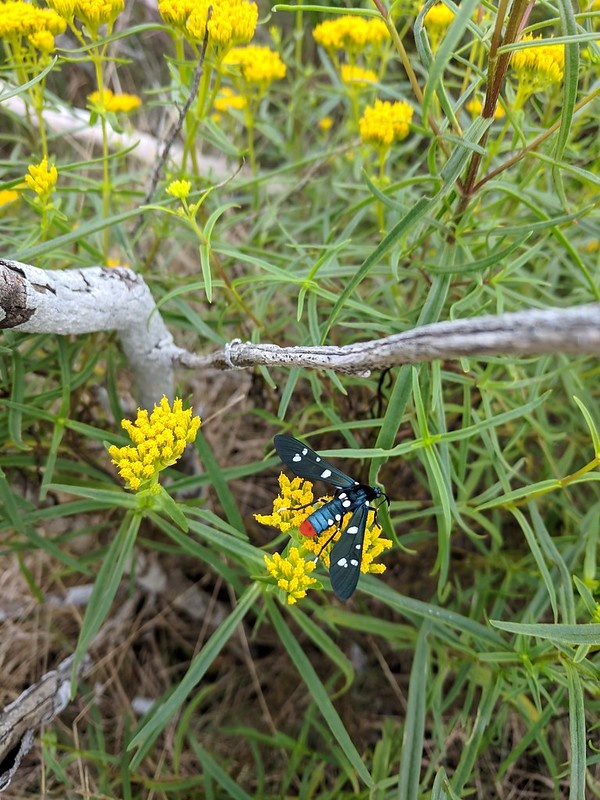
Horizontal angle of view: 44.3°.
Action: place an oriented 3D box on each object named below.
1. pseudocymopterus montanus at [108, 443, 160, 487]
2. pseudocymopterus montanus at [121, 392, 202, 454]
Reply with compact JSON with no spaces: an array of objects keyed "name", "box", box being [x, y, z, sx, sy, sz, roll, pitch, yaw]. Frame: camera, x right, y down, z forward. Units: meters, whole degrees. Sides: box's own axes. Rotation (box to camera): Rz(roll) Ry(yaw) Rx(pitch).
[{"name":"pseudocymopterus montanus","box":[-0.327,0.131,1.455,0.096,0.064,0.087,-10,54,-23]},{"name":"pseudocymopterus montanus","box":[-0.279,0.051,1.459,0.145,0.073,0.129,19,34,27]}]
